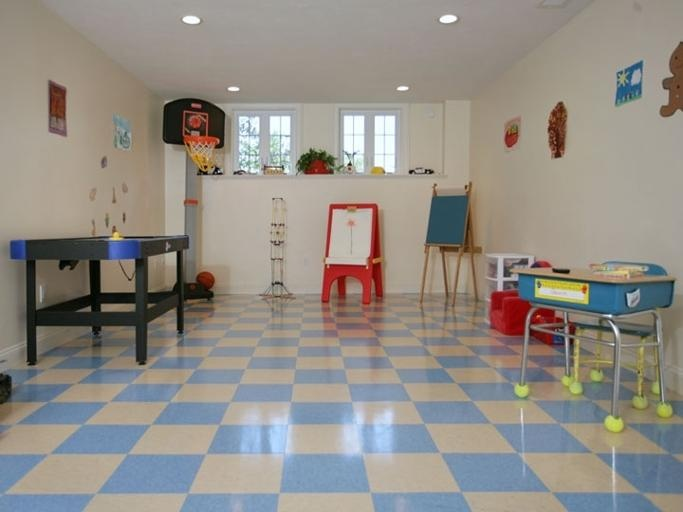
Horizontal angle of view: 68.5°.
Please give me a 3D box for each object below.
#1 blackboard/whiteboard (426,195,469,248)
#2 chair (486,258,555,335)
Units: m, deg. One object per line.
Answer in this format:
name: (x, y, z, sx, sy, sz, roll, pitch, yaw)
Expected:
blackboard/whiteboard: (1.464, -0.481, 6.837, 0.082, 0.813, 0.677, 13, -6, -43)
chair: (1.831, 0.427, 5.242, 0.659, 0.983, 0.859, 1, -3, 8)
